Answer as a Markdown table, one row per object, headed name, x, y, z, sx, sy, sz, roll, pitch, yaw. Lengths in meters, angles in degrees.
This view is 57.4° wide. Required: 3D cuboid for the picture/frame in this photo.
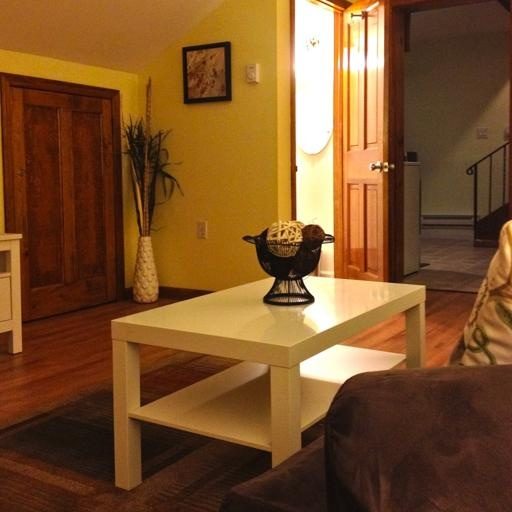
| name | x | y | z | sx | sy | sz | roll | pitch | yaw |
| --- | --- | --- | --- | --- | --- | --- | --- | --- | --- |
| picture/frame | -0.390 | -1.479 | 3.754 | 0.428 | 0.516 | 0.049 | 3 | 7 | 30 |
